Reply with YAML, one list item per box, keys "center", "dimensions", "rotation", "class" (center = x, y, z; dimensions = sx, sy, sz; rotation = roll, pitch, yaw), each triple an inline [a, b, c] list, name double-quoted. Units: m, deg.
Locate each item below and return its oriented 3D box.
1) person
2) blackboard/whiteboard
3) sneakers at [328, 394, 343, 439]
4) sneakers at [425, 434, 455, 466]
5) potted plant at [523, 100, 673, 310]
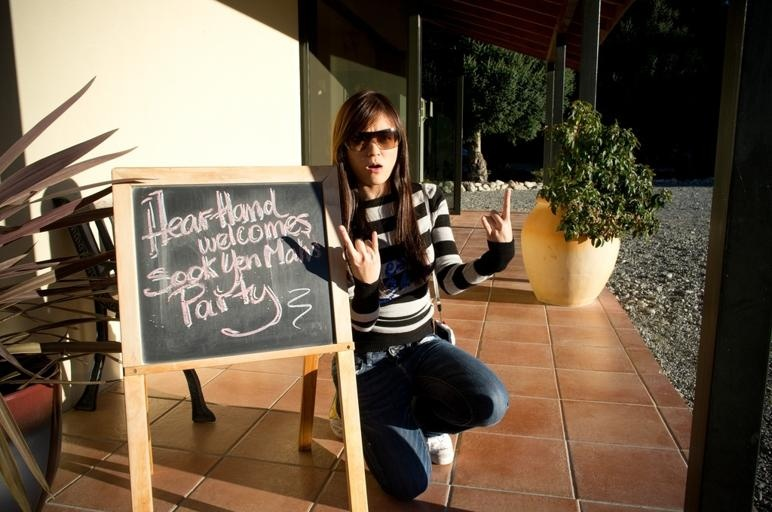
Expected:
- center: [0.152, 0.180, 2.271]
  dimensions: [0.733, 1.758, 0.560]
  rotation: [-2, 13, -8]
  class: "person"
- center: [-0.586, 0.035, 1.946]
  dimensions: [0.755, 0.661, 0.063]
  rotation: [-4, -4, -7]
  class: "blackboard/whiteboard"
- center: [-0.253, 0.830, 2.610]
  dimensions: [0.102, 0.125, 0.309]
  rotation: [0, -5, -2]
  class: "sneakers"
- center: [0.247, 0.923, 2.457]
  dimensions: [0.138, 0.203, 0.119]
  rotation: [-6, -5, 4]
  class: "sneakers"
- center: [1.686, -0.385, 4.259]
  dimensions: [0.968, 1.731, 0.572]
  rotation: [0, 13, -2]
  class: "potted plant"
